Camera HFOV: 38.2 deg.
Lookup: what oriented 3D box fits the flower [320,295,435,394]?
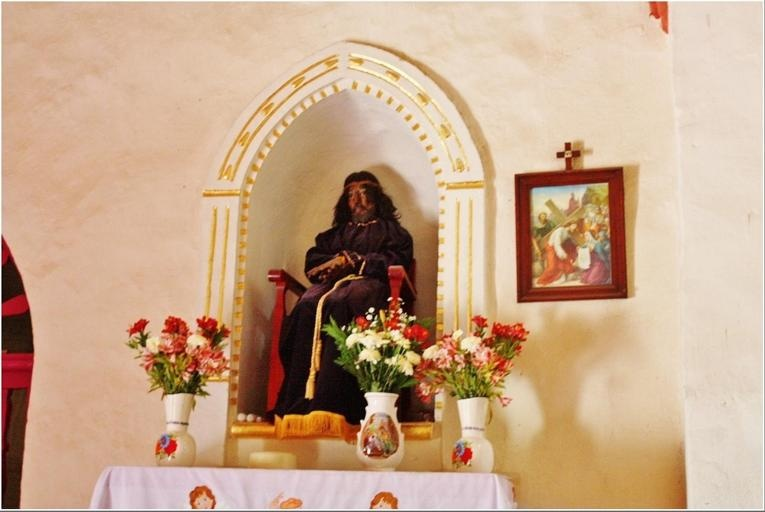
[{"bbox_3d":[-0.066,0.571,6.749,0.614,0.519,0.572,11,-10,-42],"label":"flower"}]

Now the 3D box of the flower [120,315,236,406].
[{"bbox_3d":[-1.289,0.663,6.985,0.592,0.496,0.598,-8,-13,35],"label":"flower"}]

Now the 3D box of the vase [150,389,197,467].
[{"bbox_3d":[-1.264,1.061,6.718,0.230,0.447,0.189,2,-13,-11],"label":"vase"}]

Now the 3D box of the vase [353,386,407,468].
[{"bbox_3d":[0.012,1.051,6.651,0.311,0.430,0.307,-1,-5,17],"label":"vase"}]
